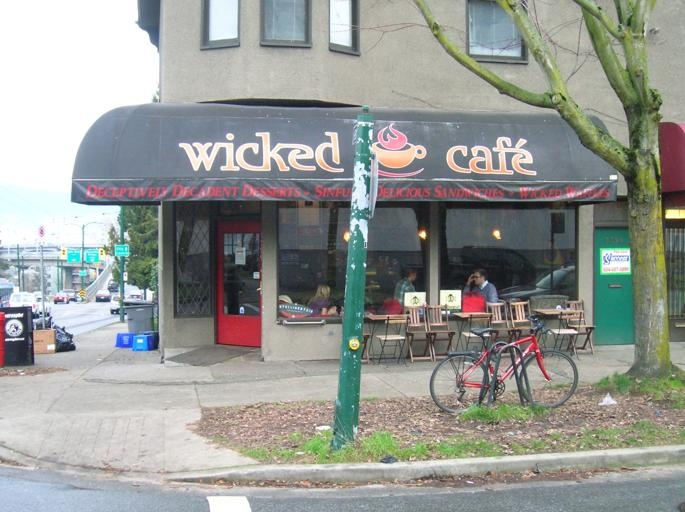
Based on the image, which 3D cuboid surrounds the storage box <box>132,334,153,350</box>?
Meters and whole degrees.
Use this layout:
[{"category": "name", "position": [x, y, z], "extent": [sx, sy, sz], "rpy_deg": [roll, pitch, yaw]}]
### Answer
[{"category": "storage box", "position": [-5.169, 2.221, 19.936], "extent": [0.418, 0.318, 0.423], "rpy_deg": [0, -4, 6]}]

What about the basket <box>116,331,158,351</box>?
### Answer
[{"category": "basket", "position": [-5.476, 2.245, 20.240], "extent": [0.986, 0.267, 0.617], "rpy_deg": [-2, -2, 26]}]

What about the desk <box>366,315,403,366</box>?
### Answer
[{"category": "desk", "position": [0.951, 1.710, 15.864], "extent": [0.710, 0.951, 0.701], "rpy_deg": [0, 2, -13]}]

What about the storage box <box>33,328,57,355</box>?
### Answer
[{"category": "storage box", "position": [-7.471, 2.133, 19.380], "extent": [0.643, 0.609, 0.623], "rpy_deg": [1, -4, -21]}]

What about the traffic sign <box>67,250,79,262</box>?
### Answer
[{"category": "traffic sign", "position": [-13.730, 0.011, 39.101], "extent": [0.666, 0.632, 0.341], "rpy_deg": [-1, 13, -4]}]

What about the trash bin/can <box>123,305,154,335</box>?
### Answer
[{"category": "trash bin/can", "position": [-5.921, 1.781, 21.959], "extent": [0.839, 1.152, 0.735], "rpy_deg": [-2, -3, 18]}]

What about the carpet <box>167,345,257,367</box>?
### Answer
[{"category": "carpet", "position": [-2.858, 2.127, 16.643], "extent": [1.491, 0.111, 1.907], "rpy_deg": [5, 9, 33]}]

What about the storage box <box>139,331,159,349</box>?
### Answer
[{"category": "storage box", "position": [-5.067, 2.200, 20.117], "extent": [0.391, 0.394, 0.395], "rpy_deg": [1, 5, 1]}]

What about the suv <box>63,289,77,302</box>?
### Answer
[{"category": "suv", "position": [-35.768, 5.114, 100.674], "extent": [1.636, 1.329, 3.551], "rpy_deg": [-1, -6, -14]}]
